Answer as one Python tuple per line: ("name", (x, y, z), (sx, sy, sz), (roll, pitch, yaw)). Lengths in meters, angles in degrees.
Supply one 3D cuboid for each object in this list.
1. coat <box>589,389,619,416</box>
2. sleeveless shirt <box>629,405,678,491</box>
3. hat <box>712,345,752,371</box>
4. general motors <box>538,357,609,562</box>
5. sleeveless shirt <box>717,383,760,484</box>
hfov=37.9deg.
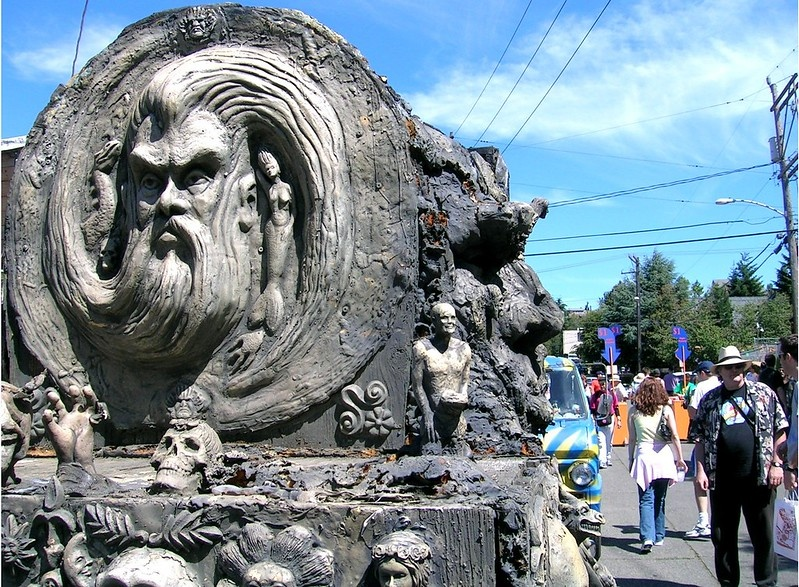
("coat", (3.325, 1.765, 18.720), (0.350, 0.229, 0.758), (6, -38, 9))
("sleeveless shirt", (2.744, 1.669, 12.511), (0.495, 0.893, 0.413), (-3, -7, 13))
("hat", (3.111, 0.605, 10.918), (0.294, 0.172, 0.319), (-9, -15, 17))
("general motors", (1.977, 1.543, 14.116), (0.956, 1.676, 2.925), (0, 9, 8))
("sleeveless shirt", (3.148, 1.237, 10.815), (0.360, 0.885, 0.275), (-10, 21, 20))
